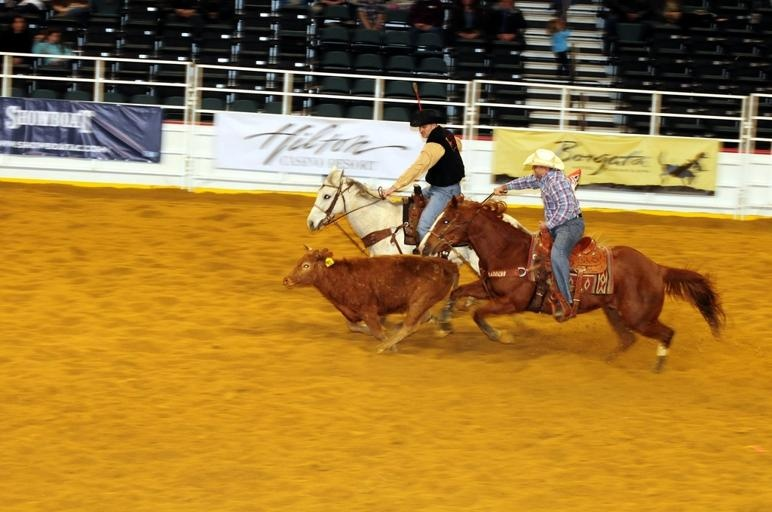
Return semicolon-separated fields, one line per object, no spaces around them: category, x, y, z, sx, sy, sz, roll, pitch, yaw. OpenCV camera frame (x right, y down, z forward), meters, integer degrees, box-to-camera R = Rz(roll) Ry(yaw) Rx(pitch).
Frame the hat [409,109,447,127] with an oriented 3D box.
hat;0.616;-2.175;21.320;0.413;0.268;0.261;1;6;-6

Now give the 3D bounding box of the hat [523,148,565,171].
hat;2.418;-1.418;20.585;0.839;0.196;0.500;5;13;2

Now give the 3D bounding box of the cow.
cow;-0.593;0.677;21.027;1.156;1.388;3.629;6;1;40

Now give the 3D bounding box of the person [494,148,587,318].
person;2.597;-0.292;20.651;0.849;2.627;0.335;3;7;3
